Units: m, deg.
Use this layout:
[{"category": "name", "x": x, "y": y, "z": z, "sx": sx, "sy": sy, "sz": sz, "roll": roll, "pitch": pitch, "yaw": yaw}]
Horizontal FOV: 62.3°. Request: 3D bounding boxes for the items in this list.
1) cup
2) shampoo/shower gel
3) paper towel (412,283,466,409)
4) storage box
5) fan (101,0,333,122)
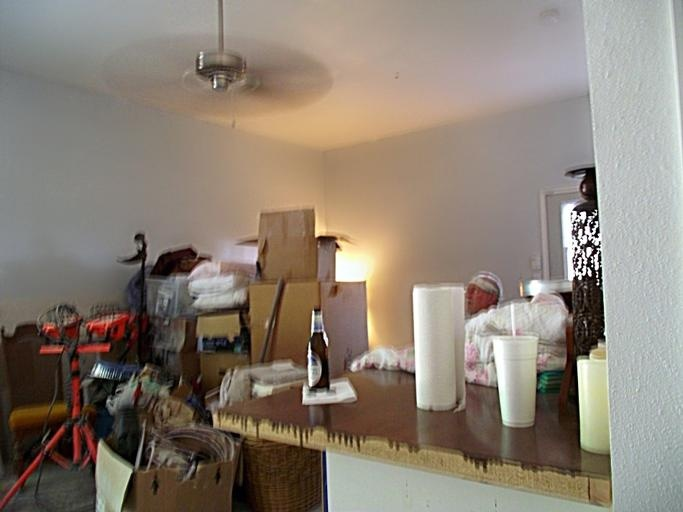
[{"category": "cup", "x": 0.342, "y": 0.235, "z": 1.111, "sx": 0.080, "sy": 0.170, "sz": 0.126, "roll": -1, "pitch": 0, "yaw": 17}, {"category": "shampoo/shower gel", "x": 0.439, "y": 0.248, "z": 0.985, "sx": 0.047, "sy": 0.123, "sz": 0.049, "roll": -1, "pitch": -1, "yaw": 22}, {"category": "paper towel", "x": 0.197, "y": 0.183, "z": 1.135, "sx": 0.100, "sy": 0.251, "sz": 0.063, "roll": -1, "pitch": -1, "yaw": 11}, {"category": "storage box", "x": -0.331, "y": 0.178, "z": 2.510, "sx": 1.065, "sy": 0.798, "sz": 0.388, "roll": -1, "pitch": -1, "yaw": -23}, {"category": "fan", "x": -0.500, "y": -0.825, "z": 2.501, "sx": 0.947, "sy": 0.352, "sz": 0.534, "roll": -1, "pitch": 0, "yaw": -37}]
